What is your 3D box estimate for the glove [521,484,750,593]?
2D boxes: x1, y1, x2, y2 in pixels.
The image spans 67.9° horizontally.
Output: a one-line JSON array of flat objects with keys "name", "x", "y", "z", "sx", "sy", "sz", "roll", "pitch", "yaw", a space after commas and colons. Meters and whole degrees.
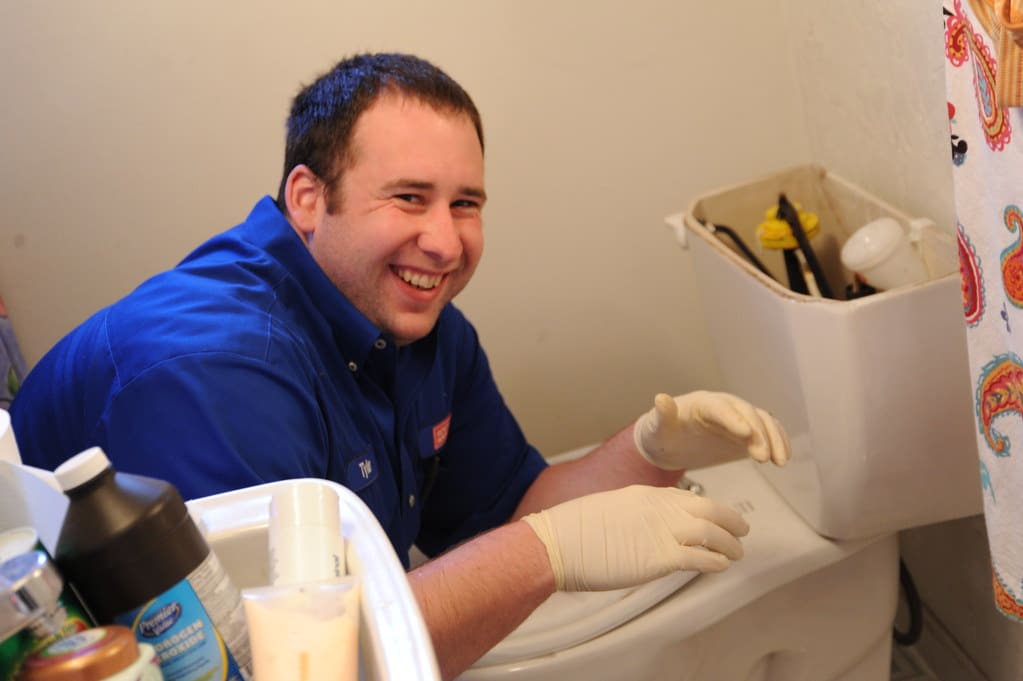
[{"name": "glove", "x": 0.191, "y": 0.275, "z": 1.057, "sx": 0.326, "sy": 0.120, "sz": 0.064, "roll": -18, "pitch": 6, "yaw": -22}]

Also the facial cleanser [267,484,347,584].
[{"name": "facial cleanser", "x": -0.157, "y": 0.151, "z": 0.583, "sx": 0.038, "sy": 0.068, "sz": 0.042, "roll": -17, "pitch": -34, "yaw": 12}]

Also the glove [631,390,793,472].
[{"name": "glove", "x": 0.347, "y": 0.145, "z": 1.233, "sx": 0.207, "sy": 0.140, "sz": 0.221, "roll": 16, "pitch": 21, "yaw": 40}]
